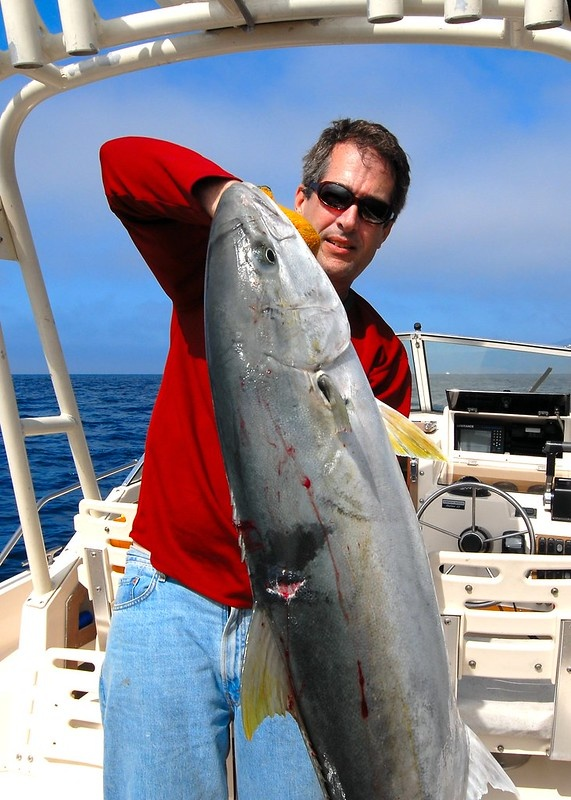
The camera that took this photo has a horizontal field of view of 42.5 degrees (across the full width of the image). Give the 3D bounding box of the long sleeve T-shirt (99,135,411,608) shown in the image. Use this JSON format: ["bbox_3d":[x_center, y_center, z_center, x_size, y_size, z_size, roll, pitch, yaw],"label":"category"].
[{"bbox_3d":[-0.033,-0.105,1.866,0.333,1.027,0.737,-25,9,-38],"label":"long sleeve T-shirt"}]
